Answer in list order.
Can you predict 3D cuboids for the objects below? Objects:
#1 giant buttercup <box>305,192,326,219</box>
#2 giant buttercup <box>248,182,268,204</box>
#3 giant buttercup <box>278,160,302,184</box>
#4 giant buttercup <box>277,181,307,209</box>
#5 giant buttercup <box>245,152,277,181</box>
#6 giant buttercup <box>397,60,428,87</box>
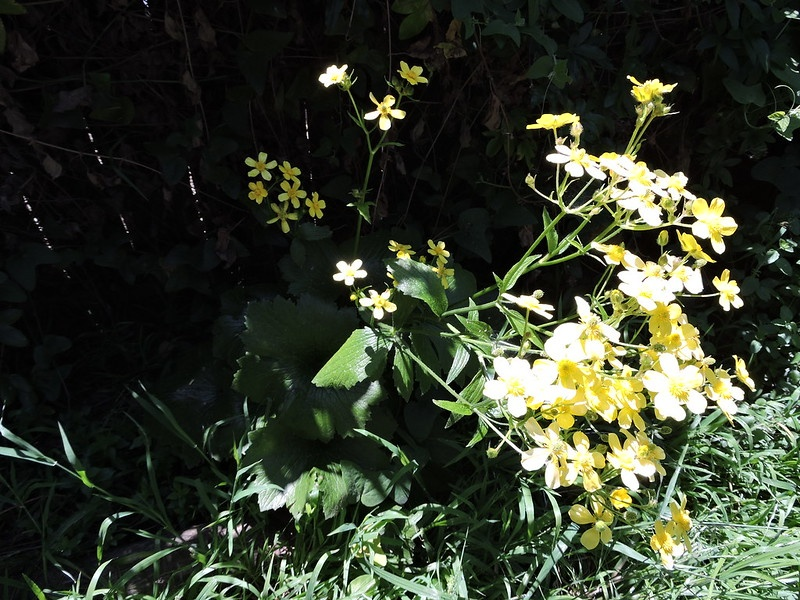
[{"bbox_3d":[-0.352,-0.384,2.602,0.095,0.103,0.039,-8,6,-33],"label":"giant buttercup"},{"bbox_3d":[-0.564,-0.429,2.545,0.083,0.086,0.036,27,15,-13],"label":"giant buttercup"},{"bbox_3d":[-0.451,-0.517,2.565,0.086,0.086,0.086,5,37,-6],"label":"giant buttercup"},{"bbox_3d":[-0.447,-0.413,2.581,0.106,0.155,0.111,1,37,-12],"label":"giant buttercup"},{"bbox_3d":[-0.557,-0.530,2.533,0.124,0.121,0.046,-3,-6,-1],"label":"giant buttercup"},{"bbox_3d":[0.054,-0.854,2.421,0.113,0.116,0.047,-23,-2,-31],"label":"giant buttercup"}]
